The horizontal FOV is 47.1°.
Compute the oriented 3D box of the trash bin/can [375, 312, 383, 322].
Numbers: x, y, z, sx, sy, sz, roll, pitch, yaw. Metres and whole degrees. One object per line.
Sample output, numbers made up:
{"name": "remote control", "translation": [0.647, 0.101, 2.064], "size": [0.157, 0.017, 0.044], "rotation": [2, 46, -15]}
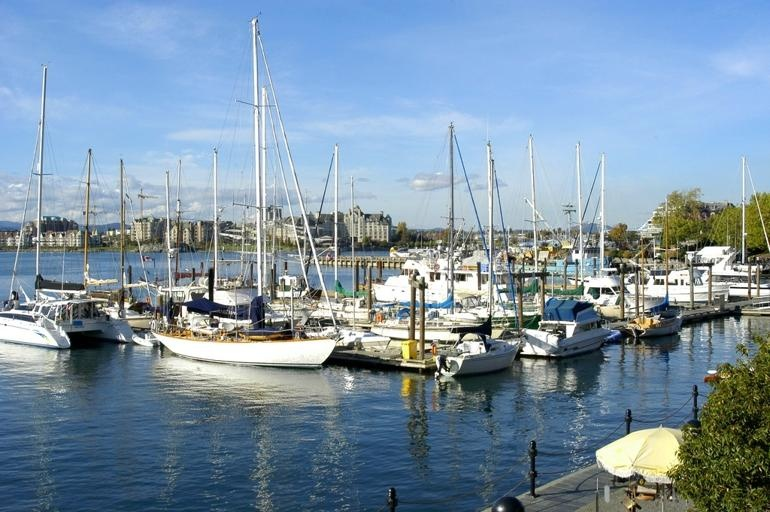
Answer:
{"name": "trash bin/can", "translation": [-0.433, 4.573, 65.984], "size": [0.592, 0.975, 0.570], "rotation": [-1, 3, -21]}
